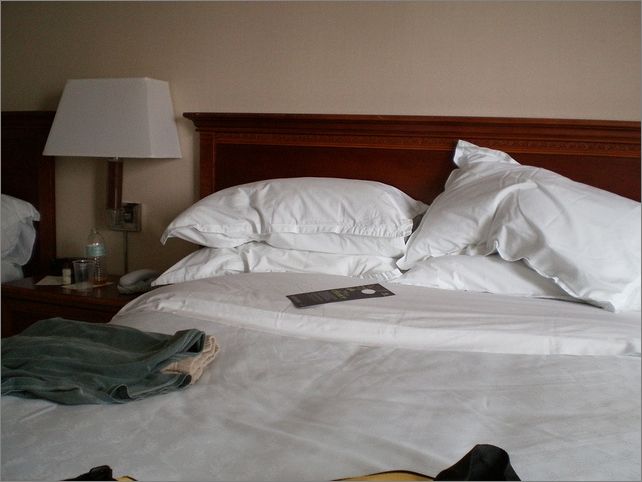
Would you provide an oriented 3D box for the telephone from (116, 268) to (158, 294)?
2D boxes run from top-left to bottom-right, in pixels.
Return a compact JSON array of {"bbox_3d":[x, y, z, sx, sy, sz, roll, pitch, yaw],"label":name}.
[{"bbox_3d":[-0.907,0.182,2.429,0.124,0.066,0.188,11,15,34],"label":"telephone"}]

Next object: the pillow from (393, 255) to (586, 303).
[{"bbox_3d":[0.605,0.136,1.802,0.405,0.071,0.248,5,4,12],"label":"pillow"}]

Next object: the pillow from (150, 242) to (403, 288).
[{"bbox_3d":[-0.158,0.090,2.062,0.535,0.106,0.399,1,6,13],"label":"pillow"}]

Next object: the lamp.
[{"bbox_3d":[-1.044,-0.521,2.808,0.632,0.942,0.612,2,5,15],"label":"lamp"}]
